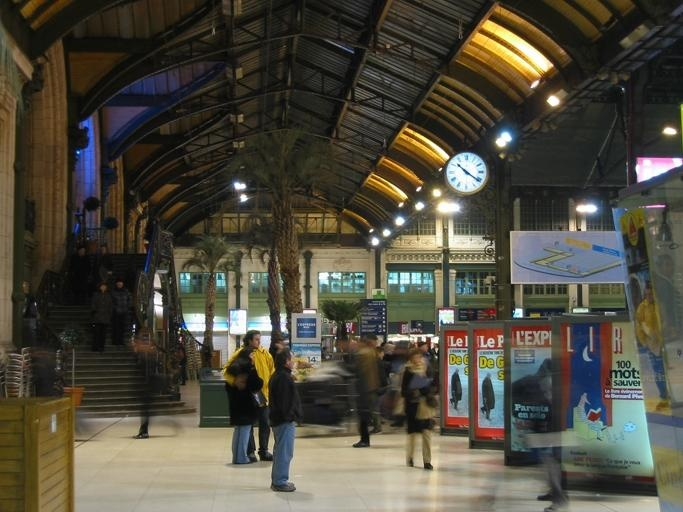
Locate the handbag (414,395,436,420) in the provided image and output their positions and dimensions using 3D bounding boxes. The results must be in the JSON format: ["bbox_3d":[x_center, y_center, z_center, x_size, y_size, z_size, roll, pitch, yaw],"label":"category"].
[{"bbox_3d":[1.402,2.548,12.707,0.300,0.435,0.395,2,-12,0],"label":"handbag"}]

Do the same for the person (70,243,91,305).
[{"bbox_3d":[-7.650,0.577,22.612,0.575,1.661,0.901,4,-9,-25],"label":"person"}]

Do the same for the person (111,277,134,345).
[{"bbox_3d":[-6.085,1.652,21.393,0.582,1.740,1.505,2,-8,-16],"label":"person"}]

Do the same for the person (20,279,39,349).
[{"bbox_3d":[-7.305,1.618,18.068,0.440,1.560,0.455,8,16,-8],"label":"person"}]

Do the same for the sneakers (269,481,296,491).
[{"bbox_3d":[-0.846,3.322,11.031,0.333,0.165,0.136,-1,2,2],"label":"sneakers"}]

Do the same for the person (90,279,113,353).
[{"bbox_3d":[-6.421,1.673,20.594,0.525,1.826,1.053,3,-8,-18],"label":"person"}]

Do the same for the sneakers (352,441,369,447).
[{"bbox_3d":[0.404,3.704,14.941,0.250,0.117,0.128,5,-5,6],"label":"sneakers"}]

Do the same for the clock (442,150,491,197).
[{"bbox_3d":[3.849,-2.515,23.614,1.284,1.343,0.318,29,-31,25],"label":"clock"}]

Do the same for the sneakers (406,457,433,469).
[{"bbox_3d":[1.289,3.468,12.673,0.481,0.224,0.152,0,5,26],"label":"sneakers"}]
